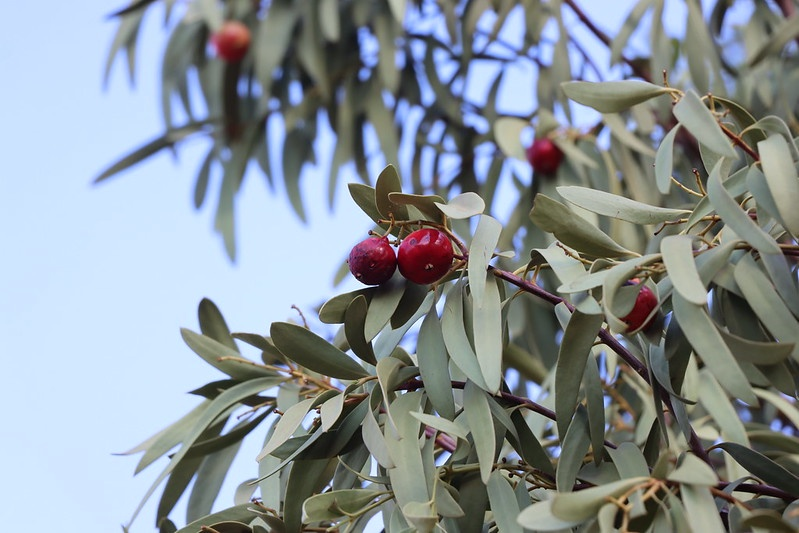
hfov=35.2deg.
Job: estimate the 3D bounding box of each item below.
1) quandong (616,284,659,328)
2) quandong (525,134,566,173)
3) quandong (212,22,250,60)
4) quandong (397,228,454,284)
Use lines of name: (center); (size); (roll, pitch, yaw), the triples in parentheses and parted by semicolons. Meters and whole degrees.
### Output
quandong: (0.379, 0.070, 2.009); (0.043, 0.071, 0.057); (16, -31, -17)
quandong: (0.327, -0.250, 2.889); (0.092, 0.103, 0.108); (-7, -10, 1)
quandong: (-0.355, -0.484, 2.716); (0.069, 0.073, 0.079); (-28, -65, -12)
quandong: (0.042, -0.018, 2.083); (0.075, 0.099, 0.085); (17, -62, -9)
